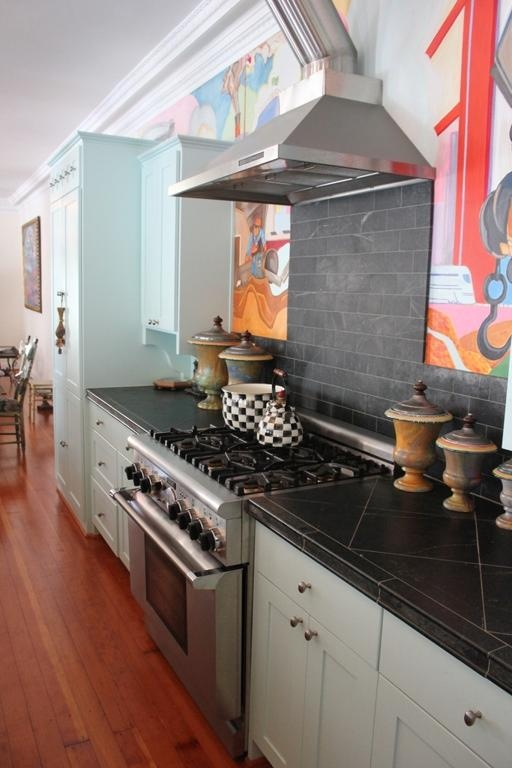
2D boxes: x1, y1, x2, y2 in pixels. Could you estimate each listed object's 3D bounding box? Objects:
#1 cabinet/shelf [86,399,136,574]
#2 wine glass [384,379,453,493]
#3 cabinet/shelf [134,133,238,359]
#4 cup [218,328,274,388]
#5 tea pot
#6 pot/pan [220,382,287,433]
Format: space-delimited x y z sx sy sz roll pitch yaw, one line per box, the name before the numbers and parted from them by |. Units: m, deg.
cabinet/shelf | -0.717 0.505 2.713 0.270 0.675 0.726 -2 12 -24
wine glass | 0.452 0.142 1.530 0.158 0.290 0.182 3 6 18
cabinet/shelf | -0.342 -0.644 2.986 0.268 0.824 0.397 18 28 7
cup | -0.052 -0.108 2.483 0.229 0.254 0.233 2 14 -1
tea pot | 0.086 0.083 1.905 0.147 0.250 0.163 -5 6 -38
pot/pan | -0.017 0.080 2.122 0.195 0.142 0.196 8 11 43
